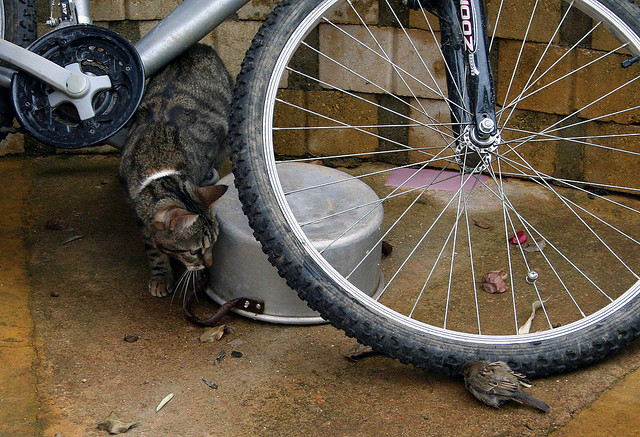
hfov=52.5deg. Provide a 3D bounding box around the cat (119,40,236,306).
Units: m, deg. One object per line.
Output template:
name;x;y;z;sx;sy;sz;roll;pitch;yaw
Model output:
cat;-0.679;-0.271;3.636;0.489;0.925;1.736;-10;43;0

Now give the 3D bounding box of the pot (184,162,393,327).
pot;-0.143;0.122;3.159;0.924;0.623;0.673;3;17;-1

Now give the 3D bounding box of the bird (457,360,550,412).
bird;0.709;0.655;2.531;0.349;0.181;0.072;5;17;5
